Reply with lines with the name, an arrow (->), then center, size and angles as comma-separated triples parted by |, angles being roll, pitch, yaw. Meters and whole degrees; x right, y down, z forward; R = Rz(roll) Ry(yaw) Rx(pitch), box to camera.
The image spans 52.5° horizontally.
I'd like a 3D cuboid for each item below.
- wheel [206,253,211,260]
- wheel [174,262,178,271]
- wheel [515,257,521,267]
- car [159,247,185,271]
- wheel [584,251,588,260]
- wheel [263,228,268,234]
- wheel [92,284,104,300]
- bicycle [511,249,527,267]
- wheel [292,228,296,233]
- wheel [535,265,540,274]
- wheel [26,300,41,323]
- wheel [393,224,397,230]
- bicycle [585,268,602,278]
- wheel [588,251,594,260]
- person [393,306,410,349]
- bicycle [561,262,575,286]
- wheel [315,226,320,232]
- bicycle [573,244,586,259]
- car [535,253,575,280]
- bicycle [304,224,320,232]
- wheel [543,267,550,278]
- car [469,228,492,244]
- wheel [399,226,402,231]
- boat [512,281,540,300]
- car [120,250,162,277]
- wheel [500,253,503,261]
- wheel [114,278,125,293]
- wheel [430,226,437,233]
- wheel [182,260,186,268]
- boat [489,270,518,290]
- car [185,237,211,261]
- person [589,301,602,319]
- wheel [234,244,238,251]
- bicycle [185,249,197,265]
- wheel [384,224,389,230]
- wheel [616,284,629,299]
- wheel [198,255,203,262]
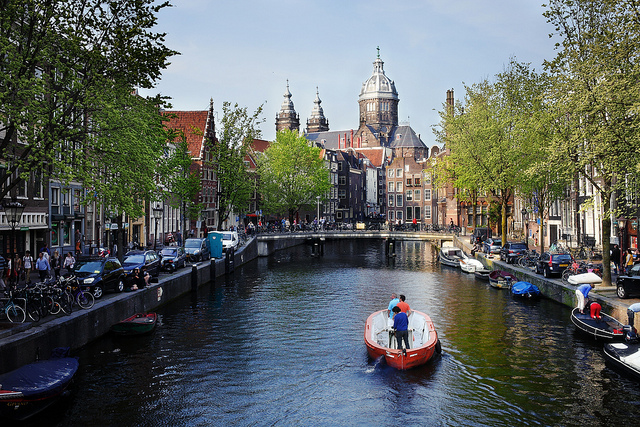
wheel -> -10.094, 4.000, 58.874 | 0.318, 0.874, 0.842 | -2, 4, 3
wheel -> -11.176, 4.104, 50.496 | 0.111, 0.462, 0.469 | 4, -2, -4
wheel -> 16.463, 3.934, 53.952 | 0.375, 0.769, 1.664 | 2, 10, 13
car -> -11.586, 3.558, 50.658 | 1.410, 1.109, 2.903 | -1, -6, -4
wheel -> 22.809, 3.528, 55.738 | 0.134, 0.583, 0.563 | 15, -6, -9
wheel -> -6.764, 2.181, 80.993 | 0.577, 0.585, 0.148 | -1, -12, 2
wheel -> -13.161, 4.620, 38.641 | 0.394, 0.926, 1.540 | -1, 10, -8
bicycle -> 16.877, 3.726, 54.985 | 1.058, 1.907, 0.829 | 18, -29, 17
wheel -> -3.342, 2.064, 82.401 | 0.135, 0.575, 0.591 | 2, 0, 9
wheel -> 16.621, 4.277, 49.613 | 0.257, 0.724, 0.695 | 1, 5, 0
wheel -> -14.388, 4.905, 32.690 | 0.684, 1.069, 0.531 | 6, 11, 30
wheel -> 10.826, 1.930, 93.345 | 0.487, 0.767, 0.721 | 3, 7, 1
bicycle -> 18.960, 4.023, 44.335 | 0.895, 0.544, 0.374 | -8, 12, -40
wheel -> 22.949, 3.578, 54.945 | 0.432, 0.651, 0.158 | 2, -26, 19
person -> 4.121, 5.910, 32.749 | 0.640, 1.683, 0.663 | -2, 10, -12
bicycle -> 17.375, 4.296, 45.626 | 0.882, 1.553, 0.739 | 5, 7, 1
wheel -> -0.286, 2.026, 84.104 | 0.431, 0.454, 0.118 | -10, -10, -24
bicycle -> 22.507, 3.375, 56.348 | 0.916, 1.312, 0.463 | -1, -17, -2
car -> 17.038, 3.820, 47.241 | 1.397, 1.163, 2.513 | -1, 4, 5
bicycle -> -1.046, 1.872, 84.212 | 1.428, 0.984, 0.985 | 7, -9, -4
wheel -> 16.538, 4.303, 47.283 | 0.315, 0.824, 0.792 | 1, -1, -6
car -> 17.776, 2.410, 71.504 | 1.458, 1.449, 2.532 | -1, 6, -3
wheel -> 10.842, 1.986, 87.203 | 0.128, 0.496, 0.522 | -12, -21, 27
boat -> 14.822, 5.622, 46.873 | 1.767, 1.048, 0.853 | 8, 12, 38
car -> -12.364, 3.313, 45.076 | 1.318, 1.156, 2.532 | -1, -6, 8
wheel -> 16.373, 3.996, 58.512 | 0.166, 0.504, 0.485 | 2, -3, -5
wheel -> -12.572, 4.521, 40.636 | 0.279, 0.920, 0.888 | -4, 0, 22
wheel -> 15.308, 2.053, 87.382 | 0.643, 0.162, 0.666 | -23, 28, 13
wheel -> -11.150, 4.160, 53.458 | 0.231, 0.658, 0.635 | 5, 16, 9
boat -> 14.576, 5.439, 51.248 | 1.332, 1.356, 3.323 | -1, 10, -7
car -> -10.825, 3.442, 57.276 | 1.817, 1.991, 3.950 | 0, 9, 0
person -> 15.554, 5.471, 36.621 | 0.711, 0.930, 0.372 | -4, 16, -24
wheel -> -8.556, 3.458, 66.243 | 0.215, 0.637, 0.471 | 10, -10, -21
bicycle -> -11.013, 3.714, 55.901 | 0.825, 1.165, 1.304 | -2, 10, -14
wheel -> 9.176, 1.920, 88.636 | 0.395, 0.768, 0.710 | 10, 13, -33
wheel -> 17.605, 4.524, 37.655 | 0.256, 0.824, 0.797 | 0, -10, -9
wheel -> -10.414, 3.873, 56.364 | 0.159, 0.527, 0.509 | 2, 24, 11
